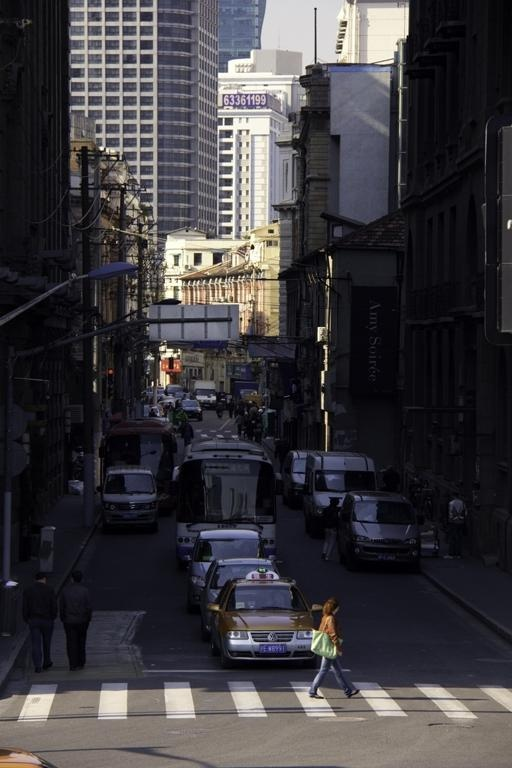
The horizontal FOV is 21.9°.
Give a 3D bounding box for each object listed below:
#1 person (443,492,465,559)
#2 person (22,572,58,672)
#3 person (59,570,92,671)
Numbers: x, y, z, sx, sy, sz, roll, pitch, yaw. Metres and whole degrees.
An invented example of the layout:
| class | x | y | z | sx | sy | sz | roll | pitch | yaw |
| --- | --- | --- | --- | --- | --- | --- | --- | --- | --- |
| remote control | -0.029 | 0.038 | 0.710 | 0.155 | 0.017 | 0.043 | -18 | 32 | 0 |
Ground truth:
| class | x | y | z | sx | sy | sz | roll | pitch | yaw |
| --- | --- | --- | --- | --- | --- | --- | --- | --- | --- |
| person | 4.795 | 3.535 | 31.556 | 0.412 | 1.510 | 0.945 | 1 | 0 | 8 |
| person | -2.931 | 3.251 | 17.862 | 0.450 | 1.232 | 0.534 | 1 | 0 | -11 |
| person | -2.523 | 3.305 | 18.394 | 0.421 | 1.233 | 1.205 | 1 | 0 | -7 |
